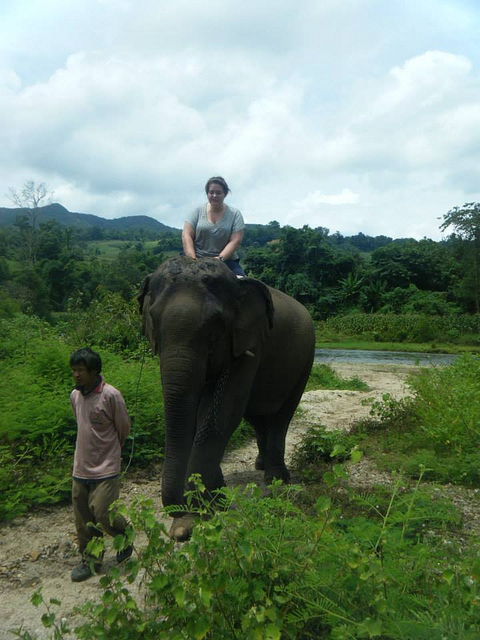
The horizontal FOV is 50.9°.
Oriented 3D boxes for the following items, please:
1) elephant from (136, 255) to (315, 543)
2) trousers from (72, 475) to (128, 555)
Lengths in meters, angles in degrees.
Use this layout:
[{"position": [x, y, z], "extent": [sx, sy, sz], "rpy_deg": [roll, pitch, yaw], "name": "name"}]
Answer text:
[{"position": [-0.089, 0.534, 4.083], "extent": [1.101, 1.804, 2.185], "rpy_deg": [-2, -4, 21], "name": "elephant"}, {"position": [-0.951, 1.301, 3.339], "extent": [0.352, 0.480, 0.283], "rpy_deg": [-1, 3, -9], "name": "trousers"}]
